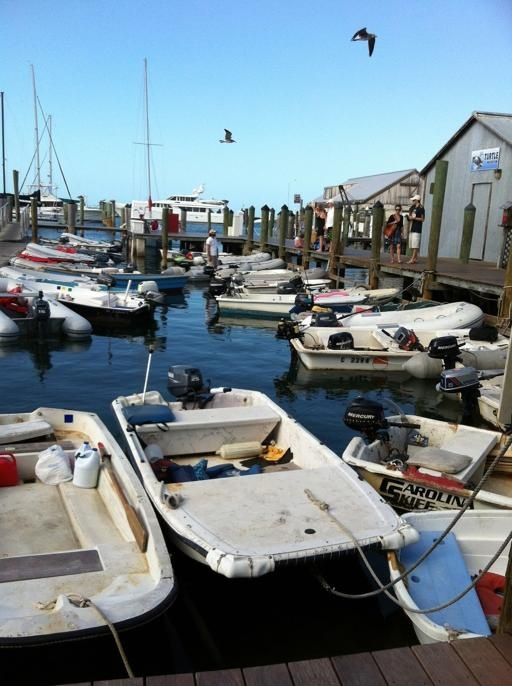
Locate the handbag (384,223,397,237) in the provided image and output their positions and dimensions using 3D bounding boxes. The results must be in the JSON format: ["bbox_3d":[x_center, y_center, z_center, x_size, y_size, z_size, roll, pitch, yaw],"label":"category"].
[{"bbox_3d":[3.462,-2.884,14.563,0.140,0.344,0.290,7,7,-35],"label":"handbag"}]

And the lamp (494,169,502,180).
[{"bbox_3d":[6.754,-4.703,15.904,0.137,0.276,0.298,3,12,1],"label":"lamp"}]

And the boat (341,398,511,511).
[{"bbox_3d":[1.481,1.071,5.141,1.571,0.591,0.928,9,20,36],"label":"boat"}]

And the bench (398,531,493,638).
[{"bbox_3d":[1.215,1.685,3.722,0.366,0.130,1.034,-6,17,3],"label":"bench"}]

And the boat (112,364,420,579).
[{"bbox_3d":[-0.164,0.786,4.518,1.216,0.574,2.259,-3,14,-22],"label":"boat"}]
